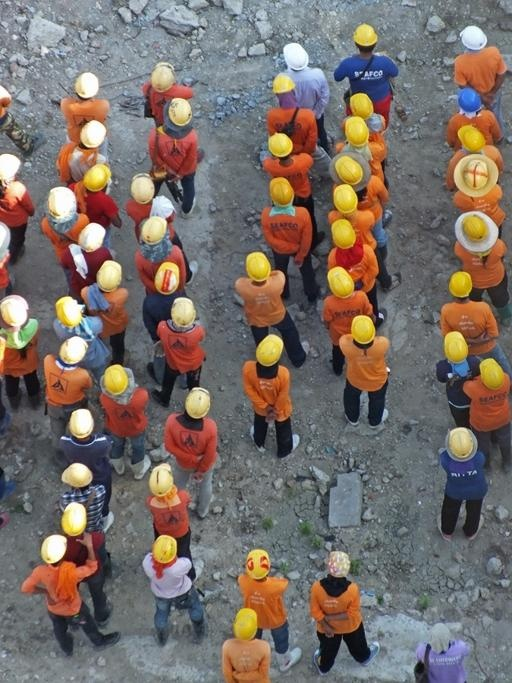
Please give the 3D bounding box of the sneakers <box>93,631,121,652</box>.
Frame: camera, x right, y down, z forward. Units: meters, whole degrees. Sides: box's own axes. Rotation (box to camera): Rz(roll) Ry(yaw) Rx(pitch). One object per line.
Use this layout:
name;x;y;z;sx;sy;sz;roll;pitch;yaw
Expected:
sneakers;-1.467;3.068;7.003;0.364;0.229;0.115;-11;72;-8

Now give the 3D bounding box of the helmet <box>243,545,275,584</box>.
helmet;0.025;1.942;5.994;0.273;0.182;0.310;0;80;-4

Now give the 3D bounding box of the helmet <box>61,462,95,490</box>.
helmet;-1.721;1.324;6.755;0.270;0.623;0.255;-14;83;0

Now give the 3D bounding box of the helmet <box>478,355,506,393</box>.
helmet;2.417;0.330;6.946;0.274;0.178;0.300;-20;99;3

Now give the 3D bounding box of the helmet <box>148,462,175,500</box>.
helmet;-0.894;1.315;6.472;0.265;0.181;0.310;1;93;5

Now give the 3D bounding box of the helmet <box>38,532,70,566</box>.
helmet;-1.813;1.853;6.096;0.265;0.161;0.280;4;70;-4

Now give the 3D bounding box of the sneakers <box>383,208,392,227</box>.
sneakers;1.918;-1.794;9.891;0.179;0.080;0.209;4;82;30

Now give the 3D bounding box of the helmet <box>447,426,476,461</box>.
helmet;1.994;0.978;6.597;0.322;0.115;0.298;-11;90;4

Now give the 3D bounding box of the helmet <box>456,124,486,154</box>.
helmet;2.659;-2.483;8.396;0.319;0.140;0.356;0;78;-15

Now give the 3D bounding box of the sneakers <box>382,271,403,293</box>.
sneakers;1.912;-0.817;9.395;0.379;0.145;0.138;-41;69;-14

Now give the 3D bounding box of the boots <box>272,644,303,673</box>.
boots;0.331;3.175;6.818;0.163;0.104;0.260;37;68;4

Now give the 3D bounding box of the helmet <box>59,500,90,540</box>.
helmet;-1.693;1.662;6.335;0.276;0.184;0.283;2;93;1

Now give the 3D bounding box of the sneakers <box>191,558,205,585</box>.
sneakers;-0.630;2.499;7.482;0.126;0.086;0.181;2;84;-2

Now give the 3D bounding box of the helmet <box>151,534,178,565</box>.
helmet;-0.840;1.890;6.159;0.233;0.115;0.273;25;105;-3

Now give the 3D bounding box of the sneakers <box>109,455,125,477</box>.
sneakers;-1.616;1.460;8.007;0.131;0.250;0.241;-3;63;-1

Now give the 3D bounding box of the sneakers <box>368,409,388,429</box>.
sneakers;1.466;0.932;8.195;0.111;0.218;0.210;27;84;15

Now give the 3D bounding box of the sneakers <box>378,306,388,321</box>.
sneakers;1.709;-0.374;9.114;0.084;0.093;0.197;2;89;-2

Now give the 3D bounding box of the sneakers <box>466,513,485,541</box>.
sneakers;2.350;1.987;7.282;0.133;0.256;0.332;21;97;15

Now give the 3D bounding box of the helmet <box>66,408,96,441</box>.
helmet;-1.775;0.822;6.830;0.287;0.180;0.293;-1;95;-9

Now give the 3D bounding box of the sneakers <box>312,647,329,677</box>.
sneakers;0.664;3.143;6.702;0.147;0.227;0.299;0;96;-14

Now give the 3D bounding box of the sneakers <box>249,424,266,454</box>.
sneakers;0.006;1.201;8.306;0.133;0.165;0.355;-14;98;4

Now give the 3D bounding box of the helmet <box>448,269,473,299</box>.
helmet;2.258;-0.619;7.516;0.309;0.210;0.352;1;86;12

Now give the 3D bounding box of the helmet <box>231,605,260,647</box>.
helmet;-0.090;2.357;5.625;0.256;0.162;0.276;-1;90;2

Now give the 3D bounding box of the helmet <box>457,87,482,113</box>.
helmet;2.729;-3.047;8.666;0.292;0.189;0.330;-11;88;3

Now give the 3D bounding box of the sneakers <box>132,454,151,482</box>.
sneakers;-1.351;1.504;8.038;0.186;0.229;0.320;2;60;6

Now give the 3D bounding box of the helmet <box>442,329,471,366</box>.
helmet;2.154;0.061;7.306;0.282;0.195;0.319;-7;92;4

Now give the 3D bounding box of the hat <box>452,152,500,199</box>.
hat;2.662;-1.989;8.172;0.612;0.181;0.488;4;91;8
